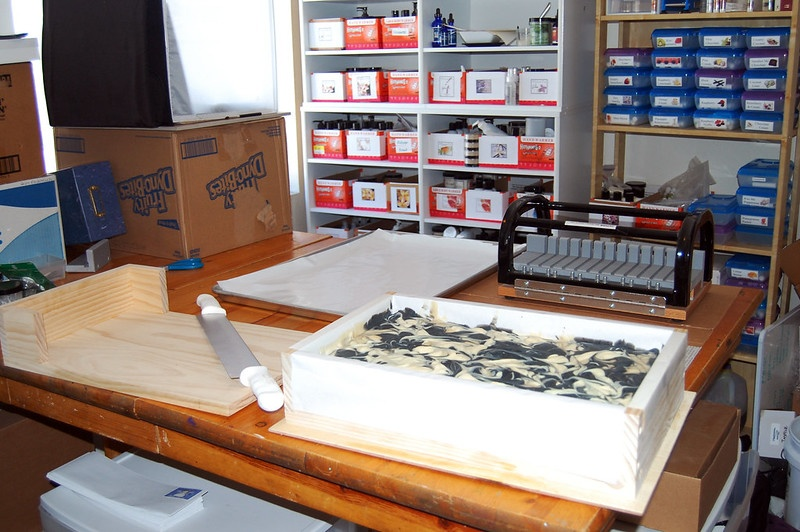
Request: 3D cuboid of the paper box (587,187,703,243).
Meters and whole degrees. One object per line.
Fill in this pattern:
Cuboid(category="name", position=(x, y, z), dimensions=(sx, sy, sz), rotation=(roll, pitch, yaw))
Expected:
Cuboid(category="paper box", position=(1.268, -0.282, 3.003), dimensions=(0.560, 0.117, 0.512), rotation=(6, 14, 33))

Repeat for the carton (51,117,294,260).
Cuboid(category="carton", position=(-0.859, -0.278, 2.321), dimensions=(0.695, 0.473, 0.700), rotation=(7, 15, 33))

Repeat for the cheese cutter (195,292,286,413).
Cuboid(category="cheese cutter", position=(-0.396, 0.198, 1.348), dimensions=(0.116, 0.068, 0.636), rotation=(-9, 20, -25))

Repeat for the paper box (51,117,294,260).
Cuboid(category="paper box", position=(-0.857, -0.279, 2.315), dimensions=(0.695, 0.473, 0.700), rotation=(7, 15, 33))
